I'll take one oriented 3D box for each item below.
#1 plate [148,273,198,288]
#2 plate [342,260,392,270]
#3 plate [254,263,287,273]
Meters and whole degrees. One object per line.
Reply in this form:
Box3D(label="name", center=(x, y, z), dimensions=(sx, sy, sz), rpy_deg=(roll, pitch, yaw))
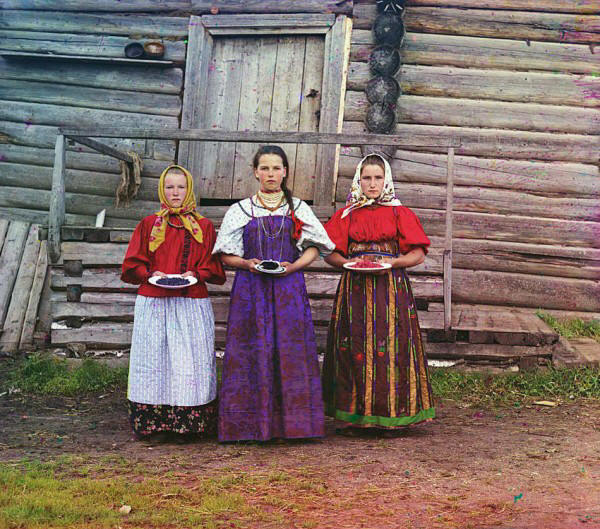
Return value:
Box3D(label="plate", center=(-0.850, 0.105, 4.643), dimensions=(0.319, 0.078, 0.194), rpy_deg=(-1, 6, -8))
Box3D(label="plate", center=(0.455, 0.013, 4.713), dimensions=(0.323, 0.064, 0.165), rpy_deg=(0, 6, 4))
Box3D(label="plate", center=(-0.196, 0.020, 4.614), dimensions=(0.216, 0.104, 0.174), rpy_deg=(0, 7, -4))
